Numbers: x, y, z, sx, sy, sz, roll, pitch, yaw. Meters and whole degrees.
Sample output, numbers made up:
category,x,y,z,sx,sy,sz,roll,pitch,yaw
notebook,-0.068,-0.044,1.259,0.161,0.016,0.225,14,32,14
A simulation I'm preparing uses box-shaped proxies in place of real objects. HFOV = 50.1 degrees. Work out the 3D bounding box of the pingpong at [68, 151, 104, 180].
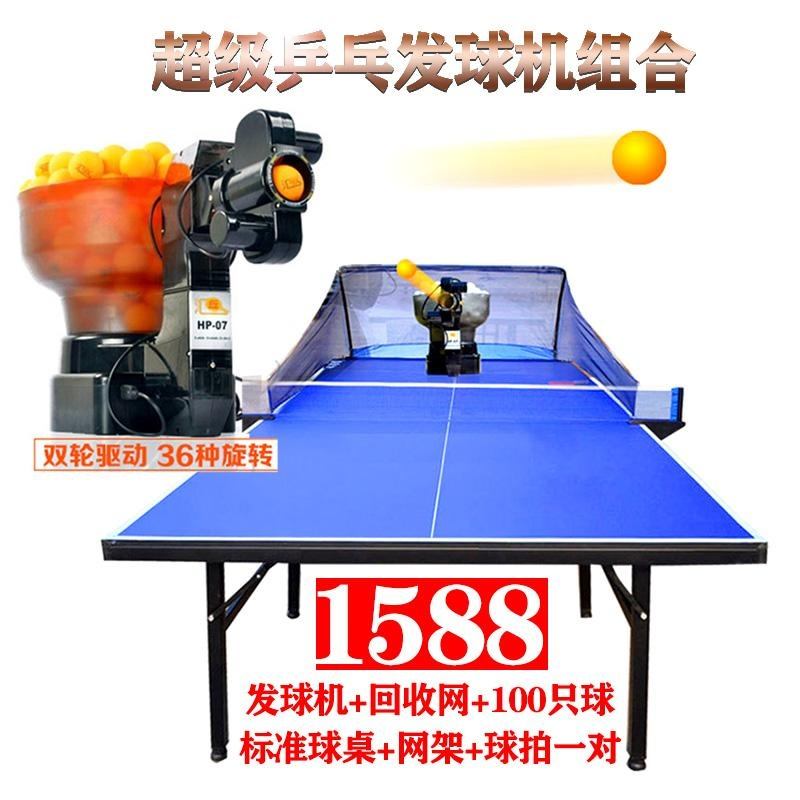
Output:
category,x,y,z,sx,sy,sz,roll,pitch,yaw
pingpong,-0.905,-0.683,2.473,0.105,0.087,0.036,-1,-13,4

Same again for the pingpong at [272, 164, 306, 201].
category,x,y,z,sx,sy,sz,roll,pitch,yaw
pingpong,-0.267,-0.526,2.070,0.079,0.081,0.040,5,-4,-36

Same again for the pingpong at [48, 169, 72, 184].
category,x,y,z,sx,sy,sz,roll,pitch,yaw
pingpong,-0.986,-0.653,2.481,0.046,0.027,0.047,2,16,5
